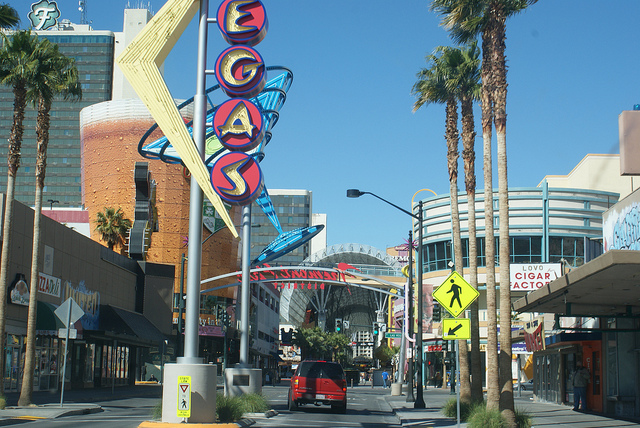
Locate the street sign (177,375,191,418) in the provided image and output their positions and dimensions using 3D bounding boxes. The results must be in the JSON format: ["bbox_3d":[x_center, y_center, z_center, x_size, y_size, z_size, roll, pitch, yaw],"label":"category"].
[{"bbox_3d":[-6.899,8.977,51.170,0.990,2.656,0.259,2,-50,-9],"label":"street sign"}]

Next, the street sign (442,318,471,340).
[{"bbox_3d":[6.978,5.855,53.501,1.034,0.850,0.077,1,-9,0],"label":"street sign"}]

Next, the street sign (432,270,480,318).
[{"bbox_3d":[6.964,4.047,53.730,2.031,2.457,0.861,-5,-17,9],"label":"street sign"}]

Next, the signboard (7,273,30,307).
[{"bbox_3d":[-20.567,5.128,70.218,0.284,1.750,2.295,-7,-11,13],"label":"signboard"}]

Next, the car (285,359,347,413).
[{"bbox_3d":[-0.290,10.531,66.759,3.804,3.378,7.280,4,0,-8],"label":"car"}]

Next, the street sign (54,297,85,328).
[{"bbox_3d":[-14.323,5.760,60.100,2.013,1.903,0.095,-13,-23,-2],"label":"street sign"}]
